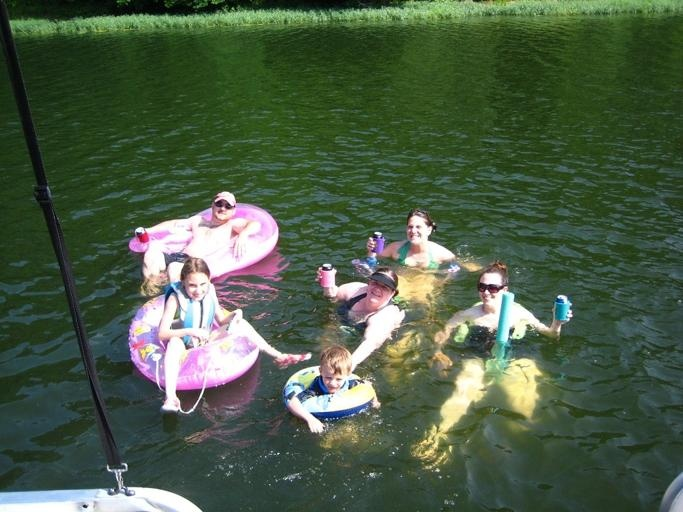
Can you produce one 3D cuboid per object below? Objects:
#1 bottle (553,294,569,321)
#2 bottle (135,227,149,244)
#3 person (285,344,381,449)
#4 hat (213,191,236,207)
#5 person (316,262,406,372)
[{"bbox_3d":[3.050,0.723,9.064,0.189,0.445,0.260,4,25,17],"label":"bottle"},{"bbox_3d":[-3.633,-0.404,11.942,0.226,0.280,0.266,-10,23,-14],"label":"bottle"},{"bbox_3d":[-0.238,1.602,8.453,1.004,0.952,0.861,-16,26,-29],"label":"person"},{"bbox_3d":[-2.173,-1.078,12.261,0.428,0.222,0.504,8,-1,-5],"label":"hat"},{"bbox_3d":[0.120,0.731,9.672,1.326,0.974,1.755,31,15,8],"label":"person"}]
